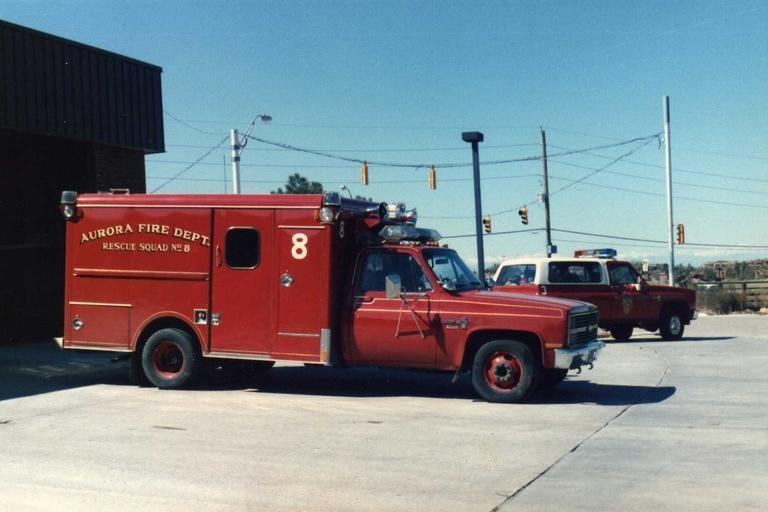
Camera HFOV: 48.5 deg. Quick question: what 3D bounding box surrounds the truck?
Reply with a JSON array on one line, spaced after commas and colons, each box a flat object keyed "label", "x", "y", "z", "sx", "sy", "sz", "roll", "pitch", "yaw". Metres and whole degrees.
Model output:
[{"label": "truck", "x": -1.109, "y": 0.707, "z": 16.999, "sx": 8.488, "sy": 3.532, "sz": 4.415, "roll": -1, "pitch": -1, "yaw": 13}]
